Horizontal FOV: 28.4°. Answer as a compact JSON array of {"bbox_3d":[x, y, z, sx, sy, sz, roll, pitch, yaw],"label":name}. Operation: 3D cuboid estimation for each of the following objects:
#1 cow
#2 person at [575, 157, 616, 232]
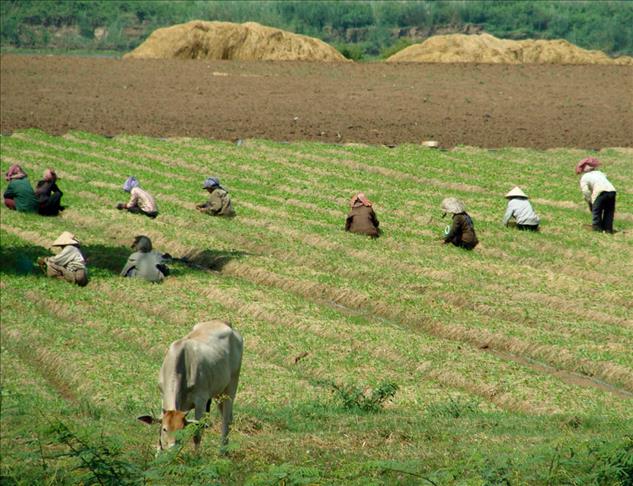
[{"bbox_3d":[-4.329,5.363,45.818,3.538,4.495,1.598,-7,15,-38],"label":"cow"},{"bbox_3d":[13.458,-2.182,59.788,1.148,3.876,1.511,6,-21,-30],"label":"person"}]
